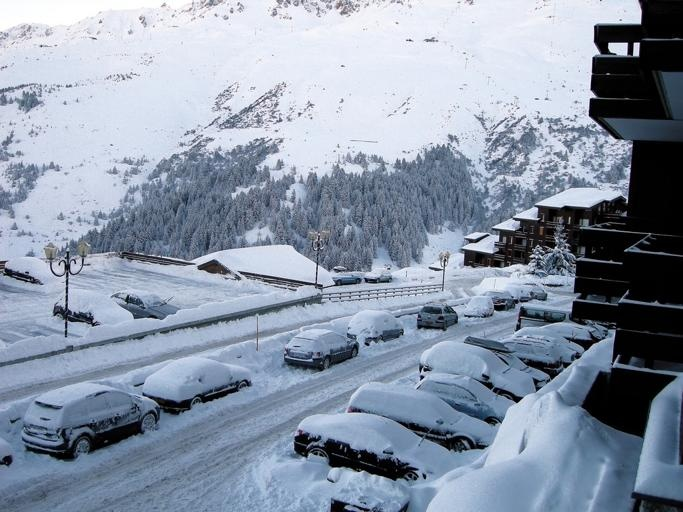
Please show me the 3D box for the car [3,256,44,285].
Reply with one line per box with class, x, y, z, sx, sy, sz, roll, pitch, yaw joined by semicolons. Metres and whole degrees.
car;-23.170;0.947;48.638;3.518;1.354;1.778;8;17;35
